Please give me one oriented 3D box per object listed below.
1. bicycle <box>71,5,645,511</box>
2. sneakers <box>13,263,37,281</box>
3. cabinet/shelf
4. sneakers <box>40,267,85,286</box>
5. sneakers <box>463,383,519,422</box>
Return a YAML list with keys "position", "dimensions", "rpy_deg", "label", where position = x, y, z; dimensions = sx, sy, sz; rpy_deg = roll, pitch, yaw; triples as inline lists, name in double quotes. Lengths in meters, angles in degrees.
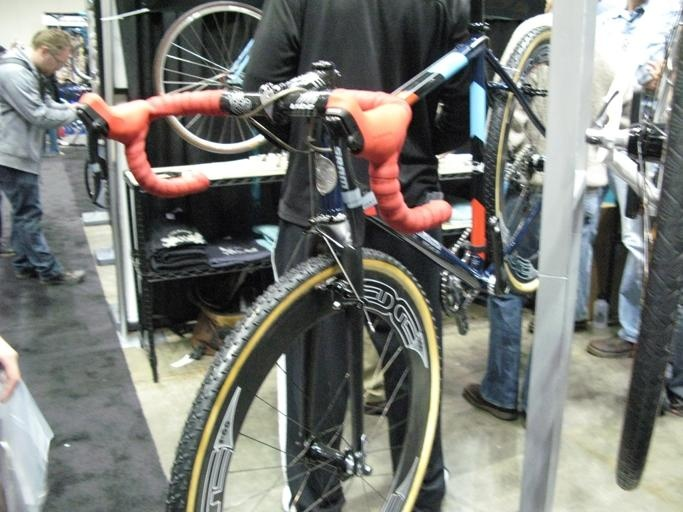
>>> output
- position: [0.237, -0.157, 2.317]
  dimensions: [1.007, 1.433, 2.488]
  rpy_deg: [8, 26, 28]
  label: "bicycle"
- position: [-2.991, 0.146, 5.483]
  dimensions: [0.262, 0.146, 0.097]
  rpy_deg: [-4, 21, -24]
  label: "sneakers"
- position: [-0.195, -0.354, 3.961]
  dimensions: [2.363, 0.591, 0.441]
  rpy_deg: [-6, 11, 0]
  label: "cabinet/shelf"
- position: [-2.556, 0.204, 5.348]
  dimensions: [0.374, 0.177, 0.162]
  rpy_deg: [-14, 24, -19]
  label: "sneakers"
- position: [0.843, 0.819, 3.335]
  dimensions: [0.120, 0.129, 0.326]
  rpy_deg: [4, 19, -38]
  label: "sneakers"
